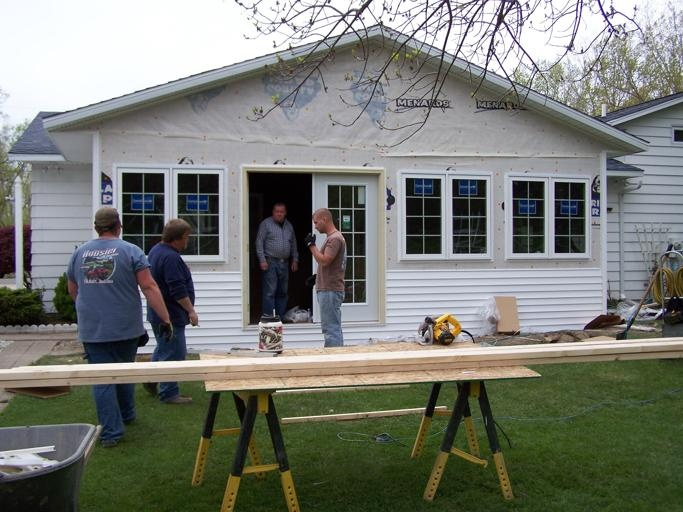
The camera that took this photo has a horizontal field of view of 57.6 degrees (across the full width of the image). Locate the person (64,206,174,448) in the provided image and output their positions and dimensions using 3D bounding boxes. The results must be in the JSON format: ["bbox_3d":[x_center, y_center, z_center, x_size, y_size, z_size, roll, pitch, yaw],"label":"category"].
[{"bbox_3d":[-2.061,0.607,5.772,0.736,2.112,0.723,-5,9,-35],"label":"person"}]

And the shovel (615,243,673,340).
[{"bbox_3d":[5.439,0.607,11.241,0.164,1.596,0.170,30,0,-10],"label":"shovel"}]

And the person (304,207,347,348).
[{"bbox_3d":[-0.169,0.254,6.924,0.409,1.536,0.680,0,7,-2],"label":"person"}]

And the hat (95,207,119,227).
[{"bbox_3d":[-2.186,-0.363,5.795,0.160,0.206,0.210,-3,19,-16],"label":"hat"}]

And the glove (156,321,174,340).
[{"bbox_3d":[-1.644,0.698,5.811,0.118,0.235,0.096,7,17,21],"label":"glove"}]

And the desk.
[{"bbox_3d":[0.043,1.272,5.224,2.472,1.178,1.859,-2,8,-15],"label":"desk"}]

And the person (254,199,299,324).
[{"bbox_3d":[-1.024,0.078,9.587,0.627,1.760,0.389,-7,10,-42],"label":"person"}]

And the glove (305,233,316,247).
[{"bbox_3d":[-0.328,-0.196,6.956,0.059,0.150,0.104,20,-25,-41],"label":"glove"}]
